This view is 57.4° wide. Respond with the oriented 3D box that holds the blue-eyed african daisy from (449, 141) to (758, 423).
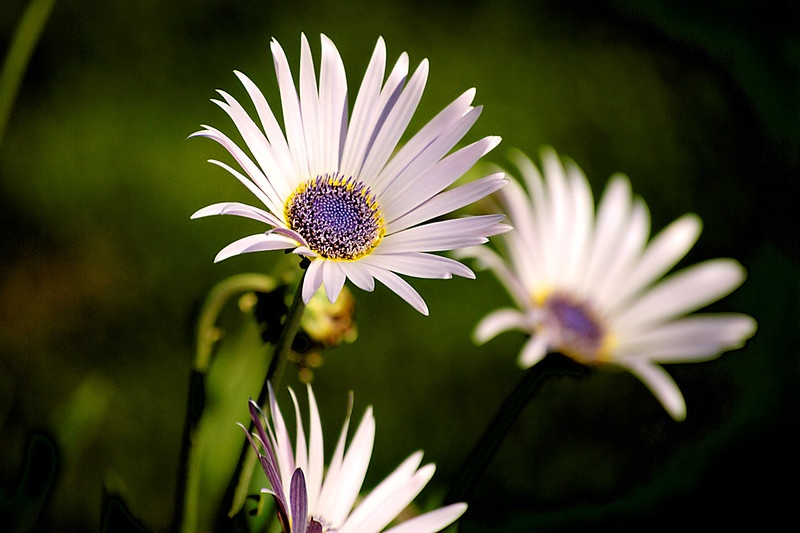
[{"bbox_3d":[0.371,0.066,1.727,0.588,0.630,0.230,-25,-20,-46],"label":"blue-eyed african daisy"}]
